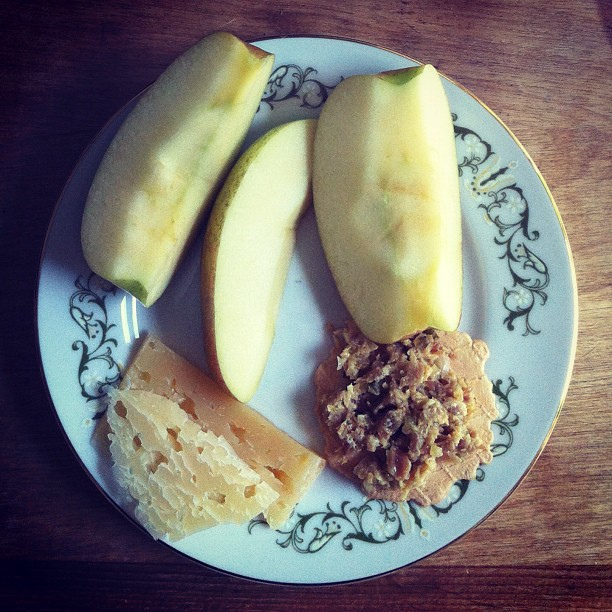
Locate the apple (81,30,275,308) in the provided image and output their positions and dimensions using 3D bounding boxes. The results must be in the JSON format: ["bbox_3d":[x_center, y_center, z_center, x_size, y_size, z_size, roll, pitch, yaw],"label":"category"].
[{"bbox_3d":[-0.236,-0.252,1.477,0.178,0.113,0.474,26,85,2],"label":"apple"}]
